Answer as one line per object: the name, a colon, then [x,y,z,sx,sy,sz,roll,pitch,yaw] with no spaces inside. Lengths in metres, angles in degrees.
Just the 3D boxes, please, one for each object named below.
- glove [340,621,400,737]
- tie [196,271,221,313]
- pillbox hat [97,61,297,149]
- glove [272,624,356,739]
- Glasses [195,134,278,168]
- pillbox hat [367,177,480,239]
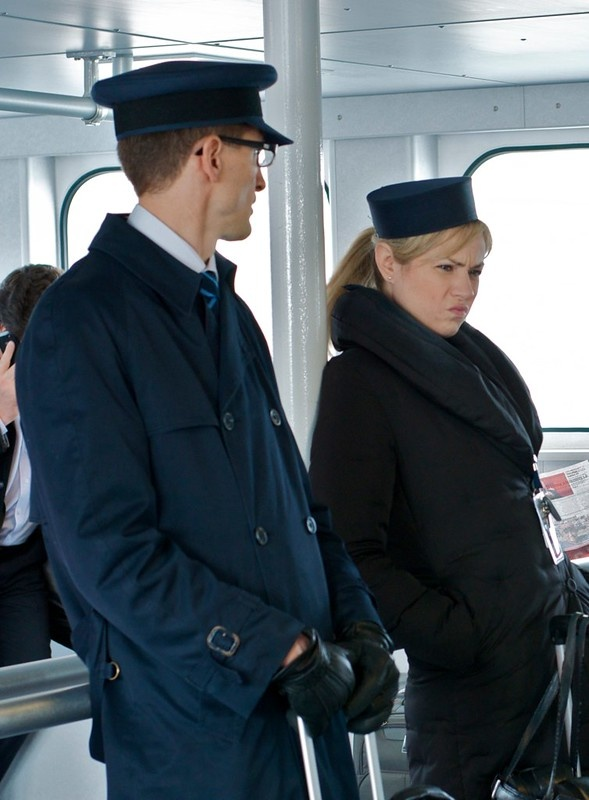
glove: [0.118,0.415,1.364,0.092,0.173,0.071,-6,9,23]
tie: [-0.136,-0.181,1.462,0.022,0.052,0.065,3,5,26]
pillbox hat: [-0.169,-0.493,1.489,0.347,0.101,0.272,0,10,1]
glove: [0.024,0.398,1.282,0.095,0.112,0.135,-5,22,24]
Glasses: [-0.082,-0.394,1.470,0.090,0.021,0.076,6,3,-14]
pillbox hat: [0.324,-0.491,2.300,0.297,0.112,0.259,-4,12,27]
